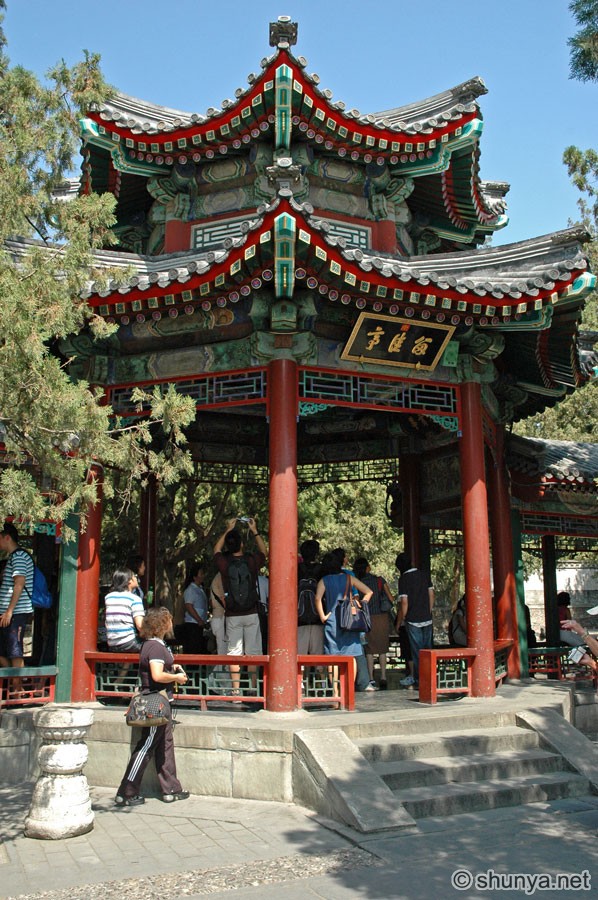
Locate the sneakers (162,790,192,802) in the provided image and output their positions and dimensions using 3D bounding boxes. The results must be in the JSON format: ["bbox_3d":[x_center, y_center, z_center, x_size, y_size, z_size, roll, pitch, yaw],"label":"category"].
[{"bbox_3d":[-0.914,2.575,6.434,0.218,0.088,0.080,3,-7,-38],"label":"sneakers"}]

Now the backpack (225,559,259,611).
[{"bbox_3d":[-0.543,1.255,7.988,0.309,0.526,0.303,0,-3,-7],"label":"backpack"}]

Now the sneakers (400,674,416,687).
[{"bbox_3d":[1.256,2.693,10.063,0.175,0.166,0.090,-11,-27,28],"label":"sneakers"}]

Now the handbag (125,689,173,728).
[{"bbox_3d":[-1.081,1.860,6.237,0.315,0.226,0.203,1,-3,-11],"label":"handbag"}]

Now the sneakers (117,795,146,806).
[{"bbox_3d":[-1.216,2.556,6.305,0.213,0.091,0.077,0,-2,-7],"label":"sneakers"}]

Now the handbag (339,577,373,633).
[{"bbox_3d":[0.531,1.493,8.223,0.292,0.525,0.466,-1,-3,25],"label":"handbag"}]

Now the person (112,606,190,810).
[{"bbox_3d":[-1.087,1.921,6.448,0.520,1.448,0.644,0,-3,-7],"label":"person"}]
